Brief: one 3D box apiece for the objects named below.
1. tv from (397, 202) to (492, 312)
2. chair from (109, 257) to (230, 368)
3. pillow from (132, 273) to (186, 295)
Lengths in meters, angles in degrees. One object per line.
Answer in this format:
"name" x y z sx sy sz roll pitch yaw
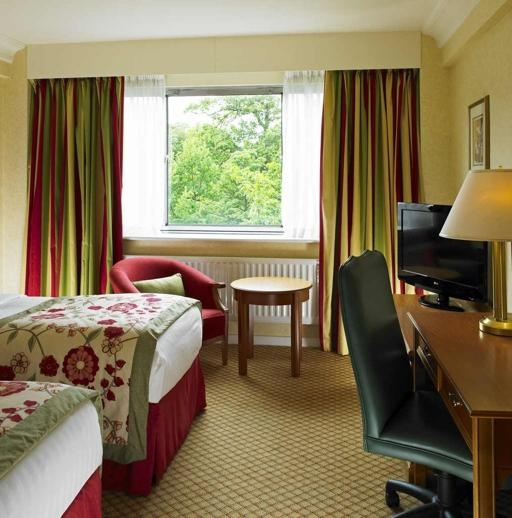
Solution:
"tv" 1.185 -0.030 2.942 0.123 0.653 0.865 -5 8 -16
"chair" -0.756 0.466 3.790 0.938 0.996 0.866 -2 5 26
"pillow" -0.807 0.237 3.847 0.305 0.182 0.451 2 7 25
